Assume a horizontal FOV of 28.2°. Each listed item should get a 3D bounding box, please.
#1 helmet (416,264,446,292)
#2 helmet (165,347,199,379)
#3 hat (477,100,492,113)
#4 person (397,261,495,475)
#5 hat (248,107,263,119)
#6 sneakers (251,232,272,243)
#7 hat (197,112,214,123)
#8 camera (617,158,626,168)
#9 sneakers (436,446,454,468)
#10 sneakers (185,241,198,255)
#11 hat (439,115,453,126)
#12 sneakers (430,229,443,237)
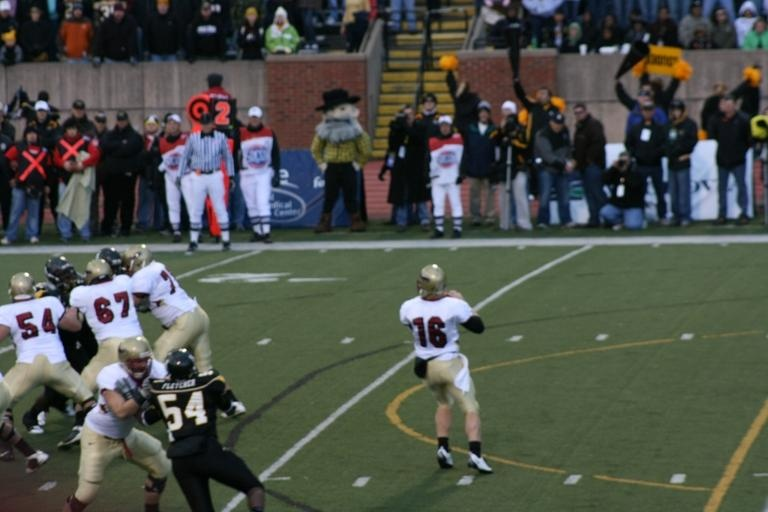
[{"bbox_3d":[0.774,0.350,23.548,0.316,0.425,0.443,-3,28,-22],"label":"helmet"},{"bbox_3d":[-2.881,1.592,22.076,0.337,0.459,0.423,0,4,-4],"label":"helmet"},{"bbox_3d":[2.175,-3.157,32.878,0.220,0.272,0.309,1,-37,5],"label":"hat"},{"bbox_3d":[0.980,1.778,23.493,1.168,3.205,0.605,-3,5,7],"label":"person"},{"bbox_3d":[-2.631,-2.985,32.212,0.291,0.192,0.475,0,4,-1],"label":"hat"},{"bbox_3d":[-2.564,-0.349,32.419,0.526,0.240,0.182,7,10,25],"label":"sneakers"},{"bbox_3d":[-3.459,-2.696,30.555,0.226,0.202,0.342,-4,14,4],"label":"hat"},{"bbox_3d":[4.944,-1.915,31.984,0.068,0.134,0.183,-48,8,-21],"label":"camera"},{"bbox_3d":[0.949,3.134,23.559,0.177,0.178,0.359,-6,-28,13],"label":"sneakers"},{"bbox_3d":[-3.883,-0.120,31.592,0.224,0.279,0.641,1,3,2],"label":"sneakers"},{"bbox_3d":[1.309,-2.770,31.916,0.203,0.148,0.278,-4,18,7],"label":"hat"},{"bbox_3d":[1.153,-0.441,32.275,0.248,0.191,0.391,-4,5,3],"label":"sneakers"}]
